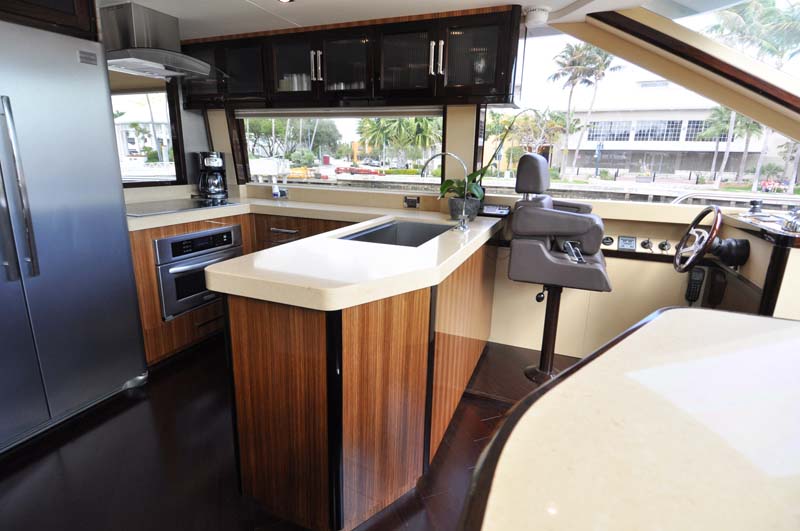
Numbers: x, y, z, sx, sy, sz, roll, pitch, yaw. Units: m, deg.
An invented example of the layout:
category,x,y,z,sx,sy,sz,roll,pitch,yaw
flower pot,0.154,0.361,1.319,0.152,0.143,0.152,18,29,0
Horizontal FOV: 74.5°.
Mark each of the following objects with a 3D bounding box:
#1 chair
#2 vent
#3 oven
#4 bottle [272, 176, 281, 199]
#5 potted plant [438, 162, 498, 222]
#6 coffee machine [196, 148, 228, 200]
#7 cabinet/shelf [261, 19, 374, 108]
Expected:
category,x,y,z,sx,sy,sz,roll,pitch,yaw
chair,1.183,0.066,3.782,0.770,1.596,0.940,5,12,13
vent,-1.903,-1.627,3.820,0.722,0.357,0.660,5,13,7
oven,-1.657,-0.005,4.215,0.492,0.652,0.714,21,29,34
bottle,-1.137,-0.715,4.788,0.076,0.173,0.203,-4,19,-12
potted plant,0.447,-0.540,3.794,0.431,0.444,0.348,-12,19,-42
coffee machine,-1.636,-0.786,4.557,0.239,0.382,0.481,-10,21,-28
cabinet/shelf,-0.615,-1.523,4.138,0.817,0.485,0.281,0,6,7
